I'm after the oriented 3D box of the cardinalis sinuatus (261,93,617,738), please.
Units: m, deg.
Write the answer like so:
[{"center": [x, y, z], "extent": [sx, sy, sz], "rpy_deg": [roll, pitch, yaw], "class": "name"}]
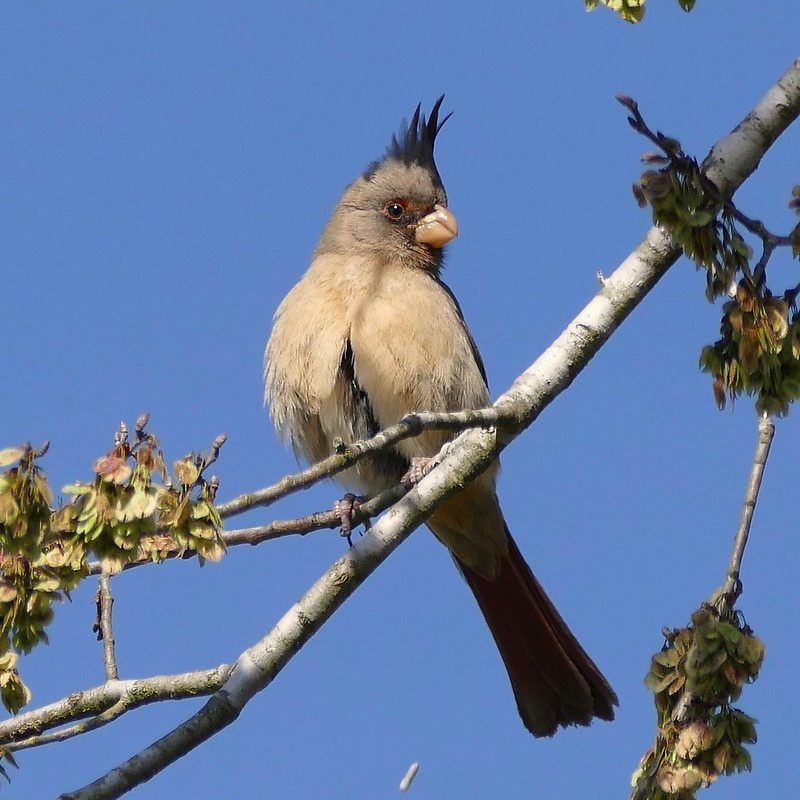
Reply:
[{"center": [0.061, 0.138, 5.610], "extent": [0.516, 1.030, 2.074], "rpy_deg": [-4, -65, 34], "class": "cardinalis sinuatus"}]
